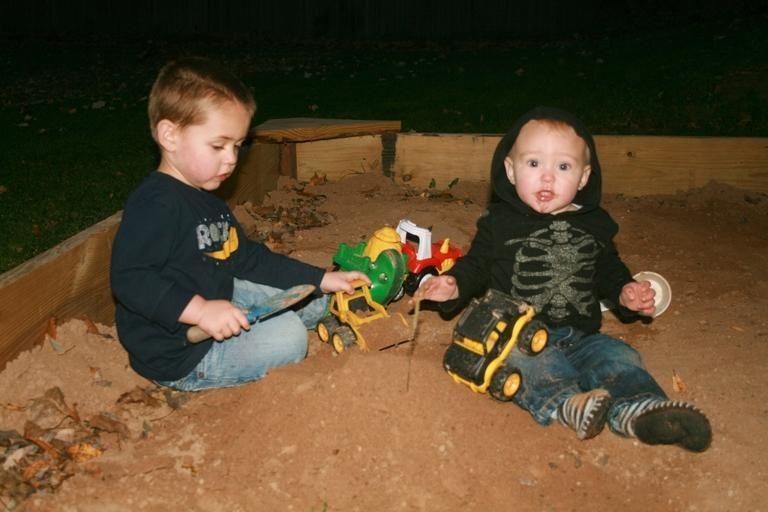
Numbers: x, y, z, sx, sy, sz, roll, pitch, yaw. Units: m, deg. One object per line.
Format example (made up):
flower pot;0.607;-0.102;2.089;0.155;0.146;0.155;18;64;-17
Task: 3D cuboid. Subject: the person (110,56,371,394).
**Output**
person;-1.007;-0.142;3.647;1.090;1.867;1.108;8;34;13

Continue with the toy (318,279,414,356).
toy;-0.152;0.369;3.976;0.524;0.347;0.473;-15;19;-19

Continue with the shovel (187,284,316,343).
shovel;-0.848;0.351;3.658;0.887;0.106;0.159;-17;55;-16

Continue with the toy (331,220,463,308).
toy;0.076;-0.004;4.059;1.003;0.430;0.534;-17;36;-33
